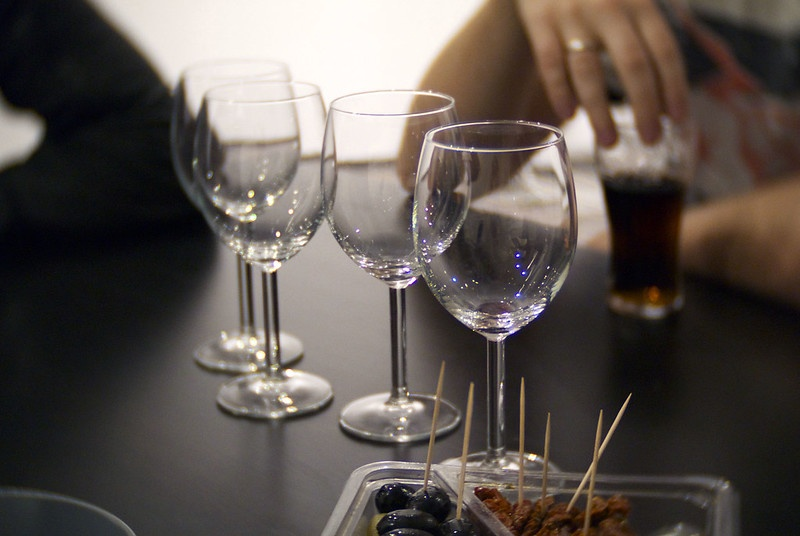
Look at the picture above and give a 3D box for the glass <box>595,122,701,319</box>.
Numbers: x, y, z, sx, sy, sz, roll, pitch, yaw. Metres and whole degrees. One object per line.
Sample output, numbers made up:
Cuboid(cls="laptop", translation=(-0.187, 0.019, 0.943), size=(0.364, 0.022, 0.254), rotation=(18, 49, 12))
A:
Cuboid(cls="glass", translation=(0.313, -0.056, 1.084), size=(0.098, 0.350, 0.106), rotation=(-8, 28, 2))
